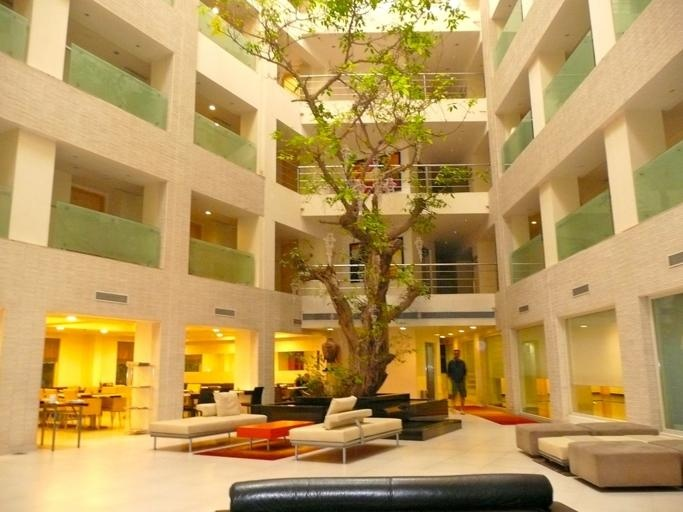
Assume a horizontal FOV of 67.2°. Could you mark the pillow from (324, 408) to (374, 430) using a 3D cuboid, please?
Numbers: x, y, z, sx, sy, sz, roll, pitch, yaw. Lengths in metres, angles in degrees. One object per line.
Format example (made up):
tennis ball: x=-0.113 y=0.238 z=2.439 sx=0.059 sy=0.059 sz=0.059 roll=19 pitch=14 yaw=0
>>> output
pillow: x=0.088 y=2.974 z=9.277 sx=0.254 sy=0.318 sz=1.092 roll=-15 pitch=-15 yaw=40

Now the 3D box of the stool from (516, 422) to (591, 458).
stool: x=3.751 y=3.147 z=9.044 sx=0.891 sy=0.303 sz=0.866 roll=2 pitch=-9 yaw=-17

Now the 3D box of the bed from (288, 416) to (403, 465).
bed: x=0.136 y=3.418 z=9.520 sx=0.967 sy=0.612 sz=2.022 roll=-14 pitch=-18 yaw=34

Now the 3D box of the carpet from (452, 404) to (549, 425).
carpet: x=4.982 y=5.106 z=16.408 sx=1.535 sy=0.209 sz=5.814 roll=-3 pitch=-14 yaw=0

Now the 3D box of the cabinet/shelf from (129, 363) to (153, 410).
cabinet/shelf: x=-5.175 y=3.376 z=13.199 sx=0.585 sy=1.207 sz=0.721 roll=3 pitch=-19 yaw=-19
